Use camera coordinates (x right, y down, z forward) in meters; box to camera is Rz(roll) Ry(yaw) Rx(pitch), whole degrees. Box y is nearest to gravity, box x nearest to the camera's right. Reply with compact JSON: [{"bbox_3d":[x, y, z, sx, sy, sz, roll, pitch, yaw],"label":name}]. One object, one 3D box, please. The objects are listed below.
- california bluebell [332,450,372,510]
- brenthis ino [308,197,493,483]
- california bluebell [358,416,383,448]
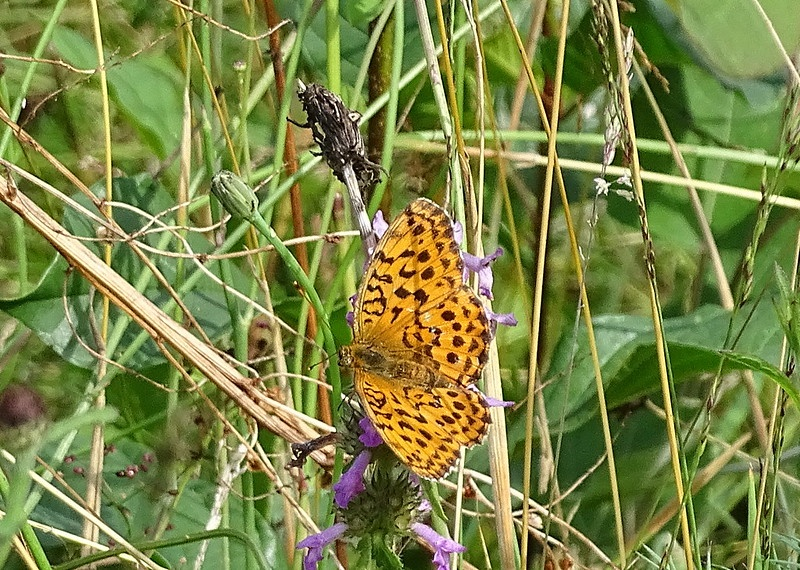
[{"bbox_3d":[-0.131,0.507,2.780,0.060,0.045,0.175,14,56,9],"label":"california bluebell"},{"bbox_3d":[0.056,0.173,2.764,0.398,0.355,0.558,-27,65,-14],"label":"brenthis ino"},{"bbox_3d":[-0.088,0.393,2.780,0.061,0.075,0.020,-22,25,13],"label":"california bluebell"}]
